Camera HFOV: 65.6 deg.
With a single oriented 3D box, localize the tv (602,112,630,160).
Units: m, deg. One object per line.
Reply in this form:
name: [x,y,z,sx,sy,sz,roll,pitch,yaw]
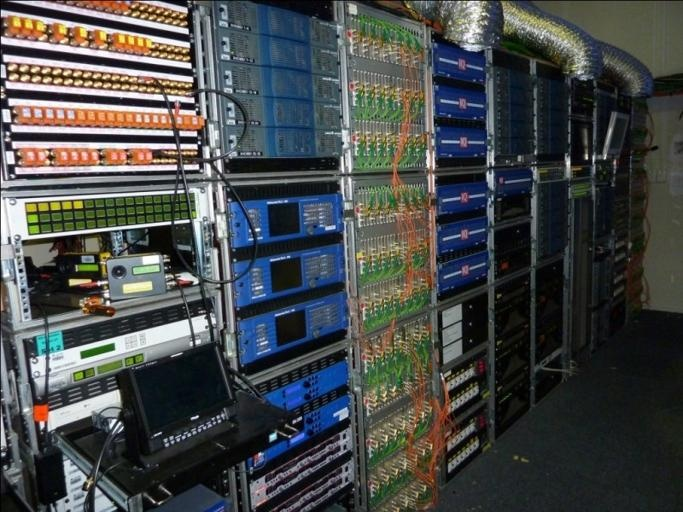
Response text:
tv: [3.276,-1.449,6.361,0.079,0.751,0.626,18,7,34]
